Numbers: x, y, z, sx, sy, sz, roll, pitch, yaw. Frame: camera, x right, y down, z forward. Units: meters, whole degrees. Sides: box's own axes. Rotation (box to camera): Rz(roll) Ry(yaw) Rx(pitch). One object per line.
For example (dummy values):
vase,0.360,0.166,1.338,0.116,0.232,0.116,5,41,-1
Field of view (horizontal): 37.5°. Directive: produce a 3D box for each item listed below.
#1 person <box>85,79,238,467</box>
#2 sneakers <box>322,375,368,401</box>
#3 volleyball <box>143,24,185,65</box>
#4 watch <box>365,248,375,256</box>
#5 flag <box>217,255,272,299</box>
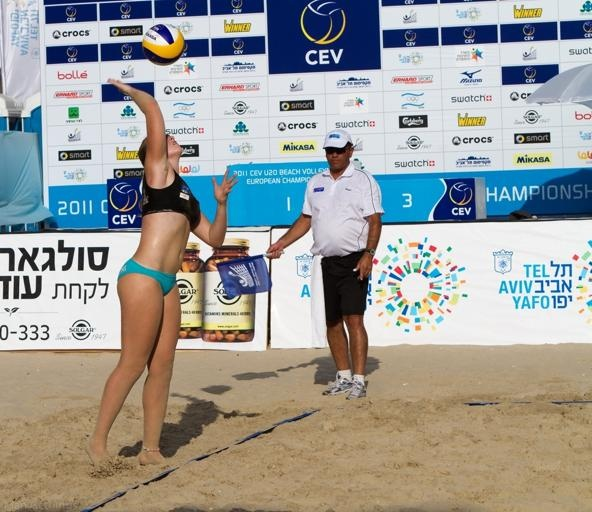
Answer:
person,-1.137,0.126,7.452,1.345,2.968,0.932,0,1,5
sneakers,0.500,1.284,8.470,0.496,0.231,0.183,1,5,0
volleyball,-1.124,-1.773,7.428,0.292,0.364,0.311,4,5,2
watch,0.730,-0.038,8.401,0.071,0.043,0.070,6,-11,-30
flag,-0.496,0.187,8.338,0.410,0.424,0.350,6,6,26
